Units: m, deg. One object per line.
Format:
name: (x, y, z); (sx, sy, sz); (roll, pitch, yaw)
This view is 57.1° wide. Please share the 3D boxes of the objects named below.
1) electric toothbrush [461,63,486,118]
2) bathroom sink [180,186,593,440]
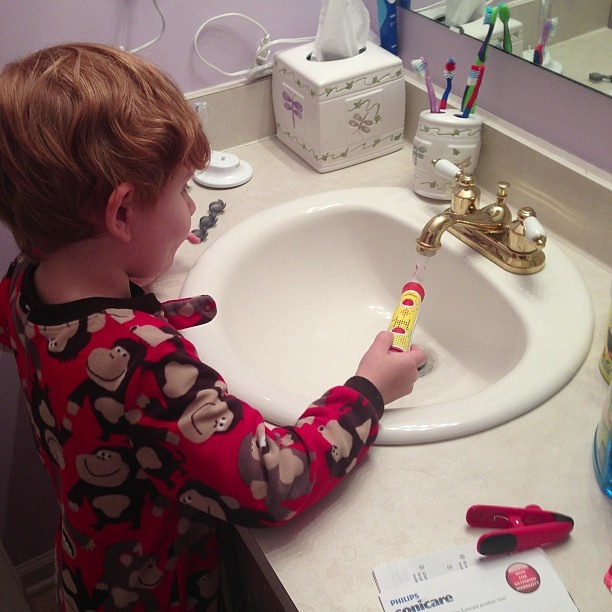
electric toothbrush: (0.274, -0.354, 0.930); (0.023, 0.082, 0.039); (9, 50, 12)
bathroom sink: (0.067, 0.000, 0.884); (0.440, 0.153, 0.431); (-18, 44, -25)
